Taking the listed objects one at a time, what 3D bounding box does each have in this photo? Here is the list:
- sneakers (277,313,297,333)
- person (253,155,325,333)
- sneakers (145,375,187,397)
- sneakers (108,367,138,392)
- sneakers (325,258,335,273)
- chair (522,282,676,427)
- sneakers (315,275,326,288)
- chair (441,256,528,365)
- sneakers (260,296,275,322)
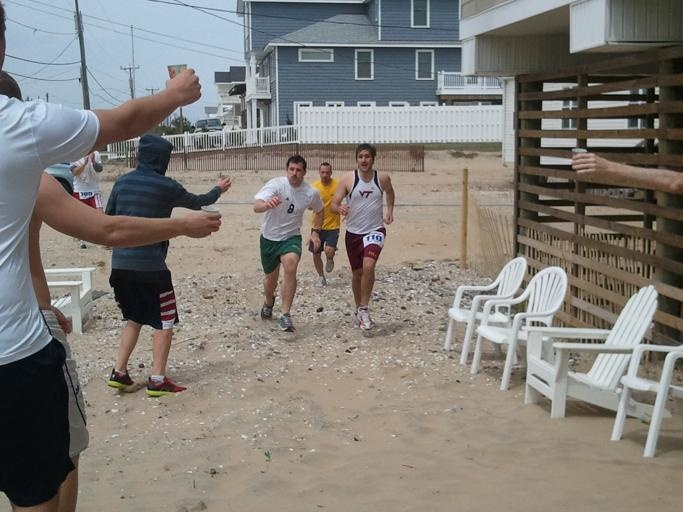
[{"bbox_3d":[-0.701,0.860,8.731,0.196,0.277,0.215,-2,11,-6],"label":"sneakers"},{"bbox_3d":[-0.723,-0.189,8.966,0.716,2.225,1.078,1,11,11],"label":"person"},{"bbox_3d":[-1.758,1.292,6.788,0.448,0.182,0.155,-1,5,-25],"label":"sneakers"},{"bbox_3d":[-2.226,1.256,6.888,0.141,0.158,0.373,11,3,20],"label":"sneakers"},{"bbox_3d":[-0.202,0.165,11.657,0.108,0.105,0.267,-1,50,2],"label":"sneakers"},{"bbox_3d":[2.347,0.864,6.360,1.012,1.126,0.958,2,-15,27],"label":"chair"},{"bbox_3d":[-0.356,0.440,11.427,0.199,0.222,0.551,0,-3,8],"label":"sneakers"},{"bbox_3d":[1.663,0.630,8.037,1.069,1.112,1.055,-6,6,-39],"label":"chair"},{"bbox_3d":[-0.981,0.752,9.333,0.156,0.375,0.178,5,9,-19],"label":"sneakers"}]
